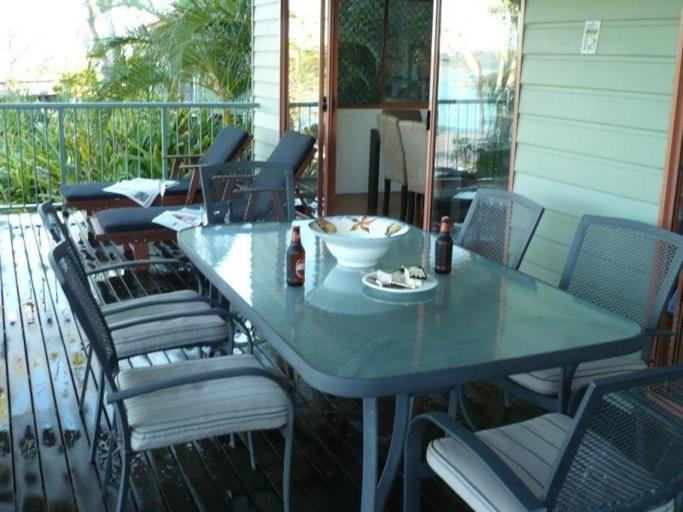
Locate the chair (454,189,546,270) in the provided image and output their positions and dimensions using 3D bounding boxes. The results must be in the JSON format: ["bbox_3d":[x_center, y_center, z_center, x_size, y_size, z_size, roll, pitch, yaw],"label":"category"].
[{"bbox_3d":[0.853,-0.134,2.798,0.269,0.510,0.321,32,29,35],"label":"chair"}]

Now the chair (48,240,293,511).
[{"bbox_3d":[-0.543,0.315,2.293,0.938,1.415,0.767,-7,21,-19],"label":"chair"}]

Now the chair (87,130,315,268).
[{"bbox_3d":[-1.127,-0.416,4.677,2.002,1.110,1.009,-11,25,-27],"label":"chair"}]

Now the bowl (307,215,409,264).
[{"bbox_3d":[0.074,-0.080,2.275,0.260,0.121,0.283,1,19,0],"label":"bowl"}]

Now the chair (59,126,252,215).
[{"bbox_3d":[-1.834,-0.776,5.373,1.576,0.909,1.040,-7,22,-27],"label":"chair"}]
